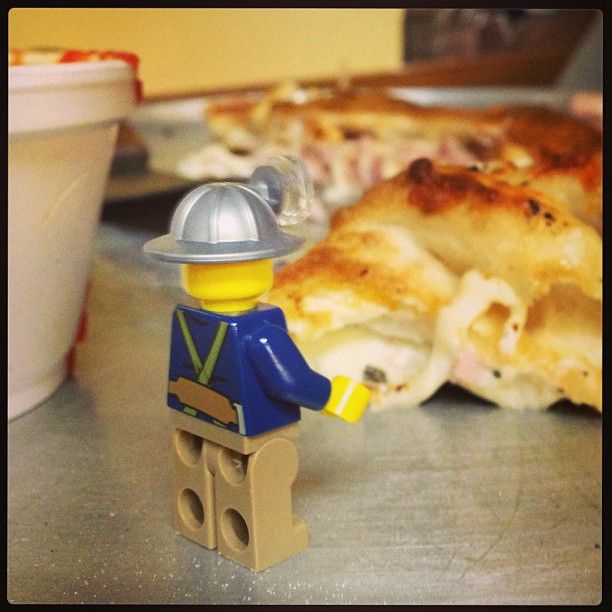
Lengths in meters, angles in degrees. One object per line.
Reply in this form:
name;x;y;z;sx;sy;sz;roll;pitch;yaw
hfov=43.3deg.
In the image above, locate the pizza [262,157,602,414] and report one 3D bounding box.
pizza;0.266;0.069;1.591;0.587;0.228;0.616;-27;41;-29
